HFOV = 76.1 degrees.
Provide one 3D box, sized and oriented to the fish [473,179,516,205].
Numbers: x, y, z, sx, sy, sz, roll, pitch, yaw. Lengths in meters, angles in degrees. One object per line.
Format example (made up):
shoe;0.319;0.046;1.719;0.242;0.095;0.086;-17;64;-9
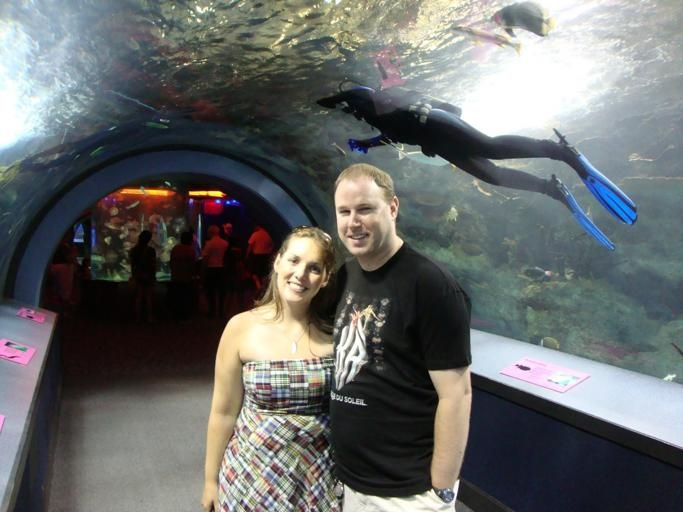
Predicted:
fish;1.608;-0.675;4.816;0.600;0.174;0.158;29;-24;37

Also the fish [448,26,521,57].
fish;1.281;-1.868;3.871;0.507;0.183;0.085;19;-22;6

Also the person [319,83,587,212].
person;1.156;-1.241;4.868;3.030;0.874;0.876;34;-5;40

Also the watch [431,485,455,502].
watch;0.631;1.449;2.681;0.087;0.063;0.107;7;-8;-15

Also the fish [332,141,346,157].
fish;-0.033;-1.448;6.015;0.080;0.033;0.191;-34;-66;30
